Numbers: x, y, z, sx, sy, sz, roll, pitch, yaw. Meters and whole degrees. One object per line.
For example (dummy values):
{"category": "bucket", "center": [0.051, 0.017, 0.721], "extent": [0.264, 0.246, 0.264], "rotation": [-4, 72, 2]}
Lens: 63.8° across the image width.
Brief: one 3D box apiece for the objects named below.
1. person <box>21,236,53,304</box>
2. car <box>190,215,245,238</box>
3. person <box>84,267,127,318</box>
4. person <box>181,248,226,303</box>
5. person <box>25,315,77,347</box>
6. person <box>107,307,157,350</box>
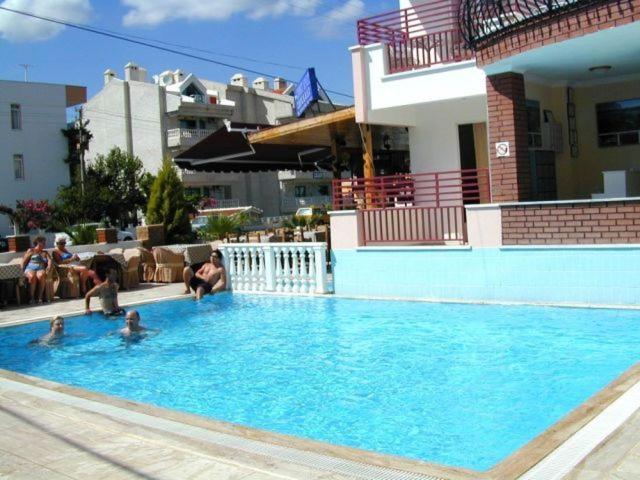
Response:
{"category": "person", "center": [-7.698, 0.785, 13.980], "extent": [0.718, 1.801, 0.652], "rotation": [-6, 7, -30]}
{"category": "car", "center": [-4.776, -0.678, 23.899], "extent": [2.128, 1.021, 4.520], "rotation": [-4, 6, -12]}
{"category": "person", "center": [-5.048, 1.193, 12.074], "extent": [0.738, 1.106, 1.136], "rotation": [-7, 7, -36]}
{"category": "person", "center": [-3.445, 1.032, 15.171], "extent": [0.893, 0.993, 1.730], "rotation": [-3, 48, 20]}
{"category": "person", "center": [-5.410, 1.857, 10.279], "extent": [0.420, 0.583, 1.003], "rotation": [-10, -8, 34]}
{"category": "person", "center": [-3.896, 1.771, 10.569], "extent": [0.965, 0.688, 0.506], "rotation": [7, -9, -11]}
